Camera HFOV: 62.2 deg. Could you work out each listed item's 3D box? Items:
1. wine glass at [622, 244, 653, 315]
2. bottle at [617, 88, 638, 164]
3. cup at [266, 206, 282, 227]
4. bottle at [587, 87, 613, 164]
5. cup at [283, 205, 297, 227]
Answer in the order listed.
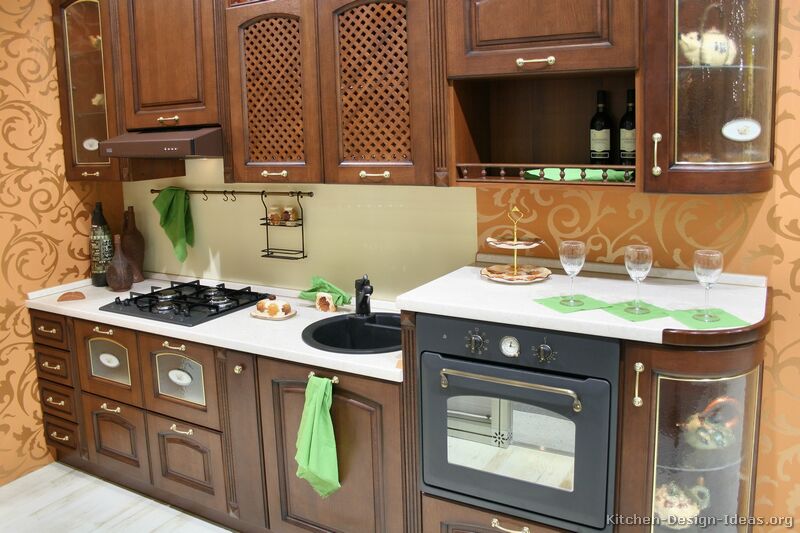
[{"bbox_3d":[1.043,0.025,2.899,0.098,0.251,0.461,1,13,19],"label":"wine glass"},{"bbox_3d":[1.038,-0.638,3.005,0.068,0.329,0.175,2,13,20],"label":"bottle"},{"bbox_3d":[-0.738,-0.302,3.947,0.107,0.113,0.106,1,11,0],"label":"cup"},{"bbox_3d":[0.935,-0.652,3.074,0.112,0.331,0.174,1,13,18],"label":"bottle"},{"bbox_3d":[-0.642,-0.290,3.850,0.103,0.136,0.100,0,1,0],"label":"cup"}]
